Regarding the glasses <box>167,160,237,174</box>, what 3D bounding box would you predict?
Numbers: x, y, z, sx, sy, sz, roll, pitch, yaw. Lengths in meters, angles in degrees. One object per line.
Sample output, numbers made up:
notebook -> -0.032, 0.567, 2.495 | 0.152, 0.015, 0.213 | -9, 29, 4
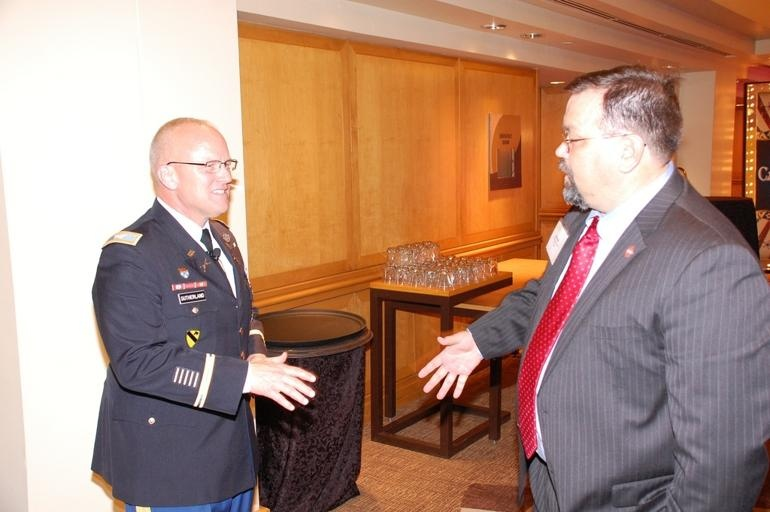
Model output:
glasses -> -0.782, -0.387, 2.429 | 0.131, 0.033, 0.127 | -4, -1, 33

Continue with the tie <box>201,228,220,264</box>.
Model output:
tie -> -0.763, -0.050, 2.487 | 0.060, 0.175, 0.046 | 0, -30, -30

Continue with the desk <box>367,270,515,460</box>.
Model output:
desk -> 0.552, 0.775, 5.087 | 0.975, 1.790, 1.629 | 7, 12, 36
